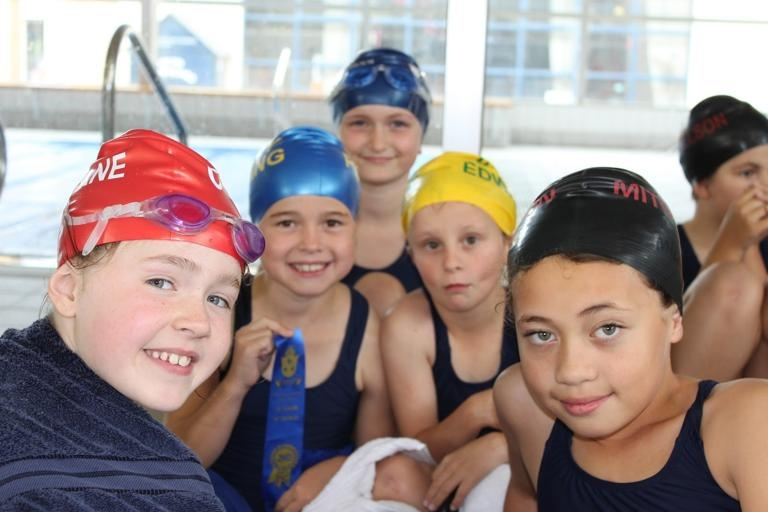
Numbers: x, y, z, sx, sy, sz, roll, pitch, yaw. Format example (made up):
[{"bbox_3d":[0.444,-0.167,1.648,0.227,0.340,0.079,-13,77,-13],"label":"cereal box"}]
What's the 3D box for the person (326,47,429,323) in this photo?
[{"bbox_3d":[0.001,-0.426,4.404,0.660,1.147,0.364,-1,2,-5],"label":"person"}]
